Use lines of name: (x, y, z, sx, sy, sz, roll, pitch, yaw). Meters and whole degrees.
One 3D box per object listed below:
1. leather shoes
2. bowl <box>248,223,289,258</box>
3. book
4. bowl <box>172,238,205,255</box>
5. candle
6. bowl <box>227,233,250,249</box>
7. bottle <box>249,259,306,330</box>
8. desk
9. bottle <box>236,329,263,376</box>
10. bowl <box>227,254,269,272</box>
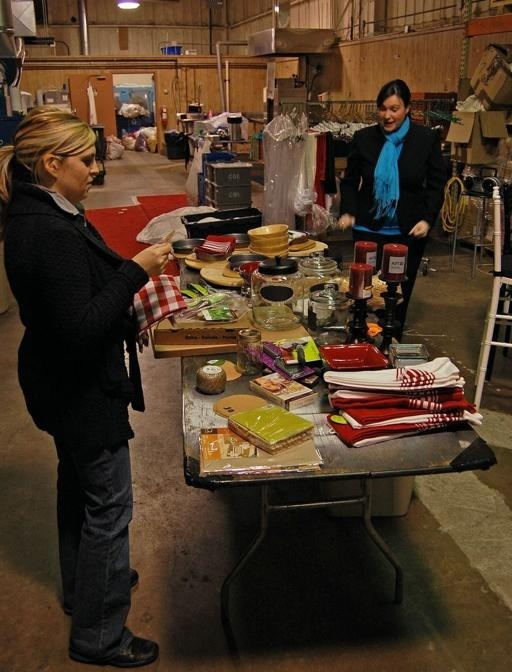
leather shoes: (-0.433, 0.821, 1.476, 0.246, 0.255, 0.107, -4, 20, -17)
bowl: (0.064, -0.471, 2.498, 0.194, 0.151, 0.211, -2, 14, 0)
book: (0.003, 0.219, 1.081, 0.252, 0.048, 0.256, -3, 14, -5)
bowl: (-0.398, -0.510, 2.873, 0.180, 0.078, 0.137, -8, 15, -24)
candle: (0.420, -0.238, 1.761, 0.193, 0.171, 0.186, 1, 22, 3)
bowl: (-0.085, -0.541, 2.838, 0.103, 0.036, 0.100, 3, 34, -2)
bottle: (0.080, -0.143, 1.826, 0.206, 0.294, 0.199, 0, 27, 0)
desk: (0.148, 0.399, 1.497, 0.597, 0.446, 0.980, -2, 10, -2)
bottle: (-0.021, 0.049, 1.478, 0.069, 0.135, 0.080, -6, 15, -15)
bowl: (-0.051, -0.360, 2.388, 0.131, 0.029, 0.121, -1, 34, 1)
